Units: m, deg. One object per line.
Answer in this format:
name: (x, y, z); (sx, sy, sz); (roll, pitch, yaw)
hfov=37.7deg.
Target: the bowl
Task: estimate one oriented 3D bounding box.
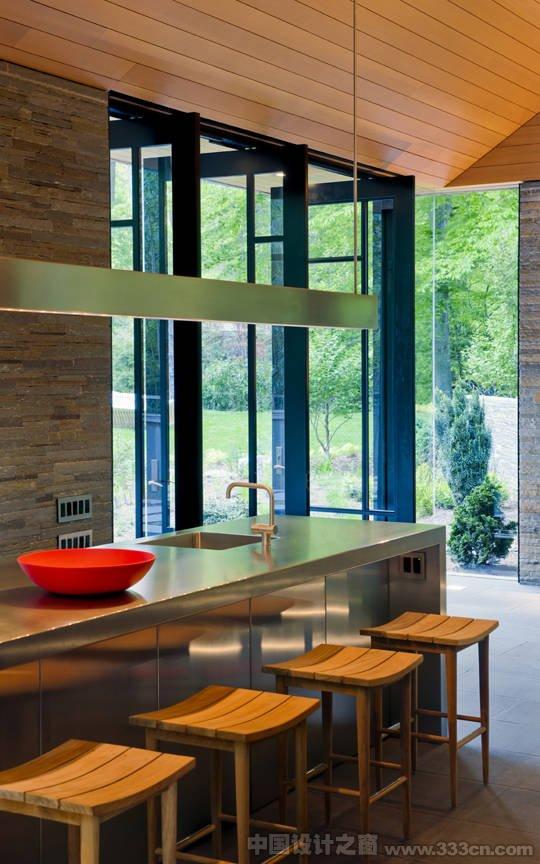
bowl: (-0.499, 0.372, 2.176); (0.337, 0.104, 0.518); (-2, 2, -10)
